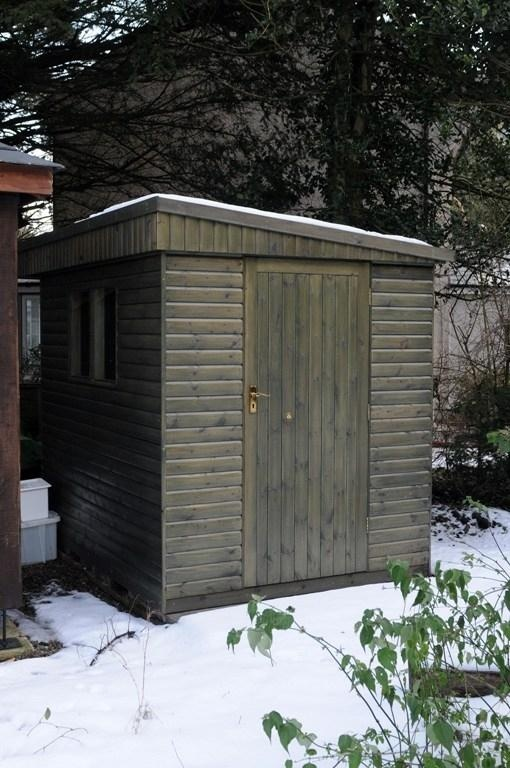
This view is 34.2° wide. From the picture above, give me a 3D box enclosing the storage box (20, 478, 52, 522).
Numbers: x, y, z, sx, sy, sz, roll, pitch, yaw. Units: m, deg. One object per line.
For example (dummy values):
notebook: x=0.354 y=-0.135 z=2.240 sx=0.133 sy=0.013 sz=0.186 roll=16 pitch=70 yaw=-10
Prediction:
storage box: x=-1.747 y=0.912 z=6.568 sx=0.221 sy=0.311 sz=0.349 roll=-4 pitch=0 yaw=-16
